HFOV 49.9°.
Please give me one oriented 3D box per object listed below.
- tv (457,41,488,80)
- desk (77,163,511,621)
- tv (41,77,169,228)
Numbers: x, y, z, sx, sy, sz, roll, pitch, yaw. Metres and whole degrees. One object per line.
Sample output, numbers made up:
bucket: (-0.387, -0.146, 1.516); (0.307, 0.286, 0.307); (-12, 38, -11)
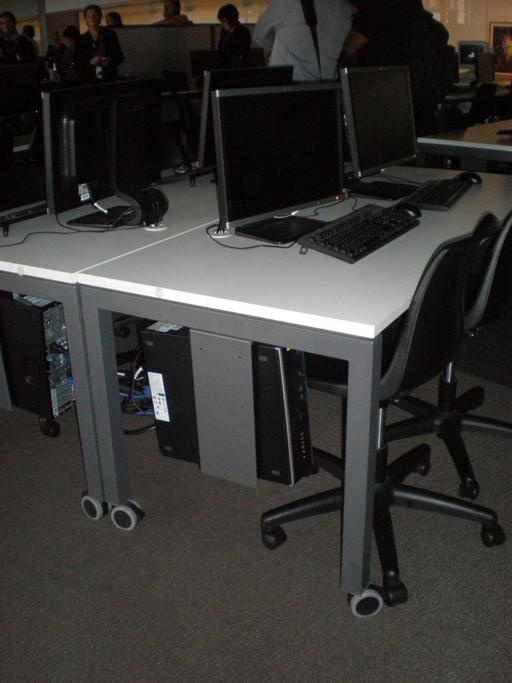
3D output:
tv: (2.063, -2.715, 5.262); (0.275, 0.276, 0.497); (8, 26, 24)
desk: (0.092, 0.017, 1.739); (1.011, 0.740, 1.102); (9, 27, 26)
tv: (-0.480, -0.581, 1.739); (0.166, 0.372, 0.408); (26, 40, 20)
